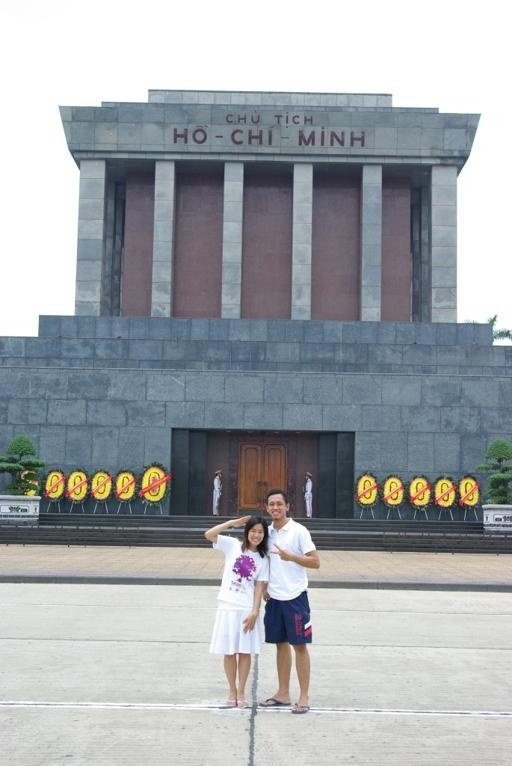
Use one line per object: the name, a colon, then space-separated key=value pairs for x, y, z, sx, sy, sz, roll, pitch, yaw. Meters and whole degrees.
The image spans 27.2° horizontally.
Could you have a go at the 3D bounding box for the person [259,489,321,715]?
person: x=0.250 y=1.597 z=7.920 sx=0.417 sy=1.584 sz=0.648 roll=0 pitch=-6 yaw=3

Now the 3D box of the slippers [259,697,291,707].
slippers: x=0.138 y=2.342 z=7.706 sx=0.179 sy=0.043 sz=0.081 roll=6 pitch=-18 yaw=3

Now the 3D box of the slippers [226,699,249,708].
slippers: x=-0.140 y=2.331 z=7.669 sx=0.171 sy=0.051 sz=0.148 roll=1 pitch=-6 yaw=-3
